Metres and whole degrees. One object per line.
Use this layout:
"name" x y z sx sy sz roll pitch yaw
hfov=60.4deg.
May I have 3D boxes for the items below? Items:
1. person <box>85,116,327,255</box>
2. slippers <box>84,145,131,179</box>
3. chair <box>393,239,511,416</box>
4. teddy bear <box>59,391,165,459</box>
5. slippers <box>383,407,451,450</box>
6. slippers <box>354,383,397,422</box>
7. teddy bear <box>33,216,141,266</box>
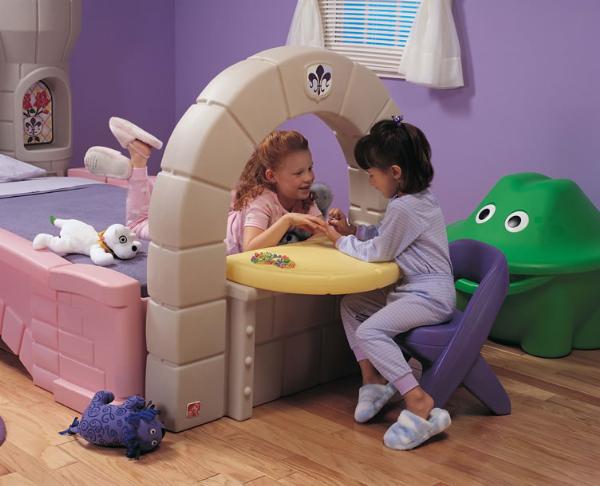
"person" -0.364 -0.250 2.129 1.137 0.554 0.471 15 25 26
"slippers" -0.848 -0.355 2.265 0.264 0.149 0.071 11 9 38
"chair" 0.496 0.285 1.786 0.393 0.582 0.431 0 12 -8
"teddy bear" -0.525 0.519 1.485 0.263 0.145 0.205 8 21 9
"slippers" 0.349 0.554 1.523 0.177 0.080 0.101 -22 20 -18
"slippers" 0.253 0.527 1.674 0.064 0.073 0.199 0 25 35
"teddy bear" -0.734 0.001 1.803 0.244 0.108 0.203 8 16 -4
